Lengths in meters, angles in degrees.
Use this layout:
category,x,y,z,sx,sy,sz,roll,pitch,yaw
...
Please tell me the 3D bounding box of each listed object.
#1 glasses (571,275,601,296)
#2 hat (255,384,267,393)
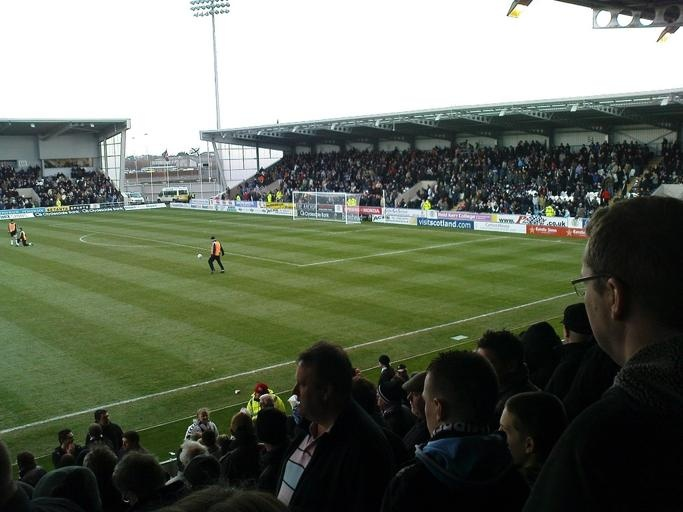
category,x,y,z,sx,sy,sz,roll,pitch,yaw
glasses,0.887,0.105,2.347,0.114,0.034,0.120,3,6,27
hat,-1.187,1.971,9.385,0.134,0.140,0.171,11,11,2
